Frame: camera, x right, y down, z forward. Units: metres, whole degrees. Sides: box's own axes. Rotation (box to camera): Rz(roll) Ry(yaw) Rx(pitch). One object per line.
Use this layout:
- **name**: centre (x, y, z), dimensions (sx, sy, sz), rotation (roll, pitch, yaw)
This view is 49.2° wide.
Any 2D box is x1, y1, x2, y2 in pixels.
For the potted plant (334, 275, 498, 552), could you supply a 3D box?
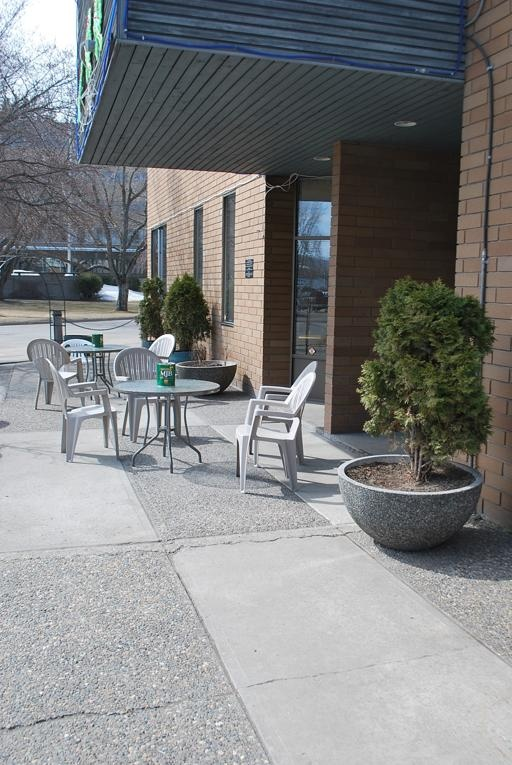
- **potted plant**: centre (0.891, 0.162, 3.135), dimensions (0.834, 1.520, 0.734), rotation (1, 4, 8)
